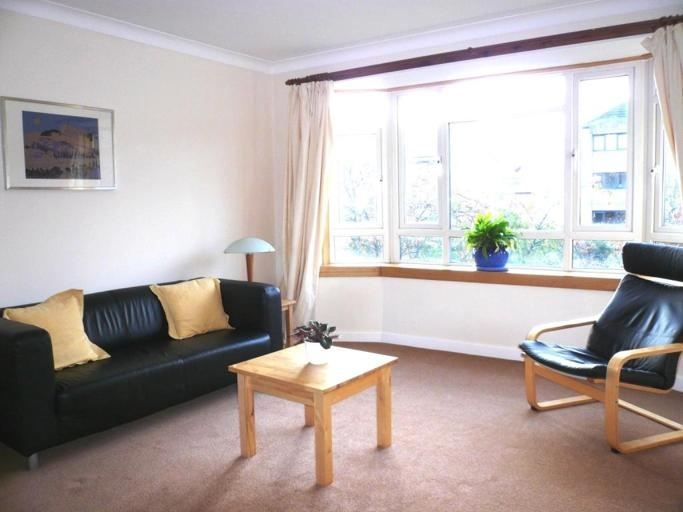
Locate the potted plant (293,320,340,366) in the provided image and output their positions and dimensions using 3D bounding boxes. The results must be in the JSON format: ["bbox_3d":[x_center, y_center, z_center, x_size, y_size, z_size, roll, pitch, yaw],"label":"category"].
[{"bbox_3d":[-0.164,0.537,3.267,0.293,0.230,0.276,0,3,-5],"label":"potted plant"}]

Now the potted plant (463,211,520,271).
[{"bbox_3d":[1.401,-0.118,4.705,0.519,0.536,0.533,2,-2,-1],"label":"potted plant"}]

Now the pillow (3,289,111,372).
[{"bbox_3d":[-2.005,0.525,3.494,0.430,0.455,0.551,9,16,42],"label":"pillow"}]

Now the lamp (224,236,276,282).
[{"bbox_3d":[-0.885,0.002,4.804,0.445,0.618,0.450,-1,1,-5],"label":"lamp"}]

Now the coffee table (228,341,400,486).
[{"bbox_3d":[-0.177,1.008,3.295,0.750,0.545,0.752,0,3,31],"label":"coffee table"}]
